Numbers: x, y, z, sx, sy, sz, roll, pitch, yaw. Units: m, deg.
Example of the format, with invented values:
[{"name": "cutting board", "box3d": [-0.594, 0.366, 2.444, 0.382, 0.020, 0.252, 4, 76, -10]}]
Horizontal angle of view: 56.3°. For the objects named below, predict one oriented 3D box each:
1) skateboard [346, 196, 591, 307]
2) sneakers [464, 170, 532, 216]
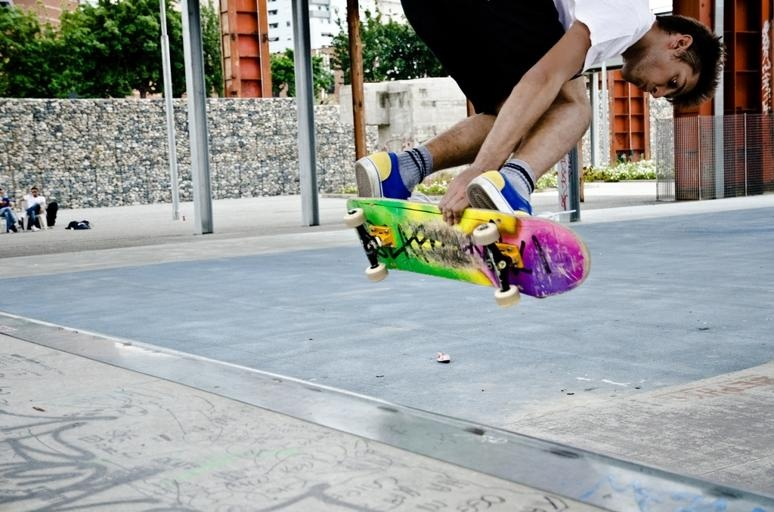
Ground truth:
[{"name": "skateboard", "box3d": [0.393, -0.045, 3.440, 1.387, 0.444, 0.200, 6, 35, 36]}, {"name": "sneakers", "box3d": [0.577, -0.340, 3.554, 0.179, 0.189, 0.510, 23, 6, 35]}]
